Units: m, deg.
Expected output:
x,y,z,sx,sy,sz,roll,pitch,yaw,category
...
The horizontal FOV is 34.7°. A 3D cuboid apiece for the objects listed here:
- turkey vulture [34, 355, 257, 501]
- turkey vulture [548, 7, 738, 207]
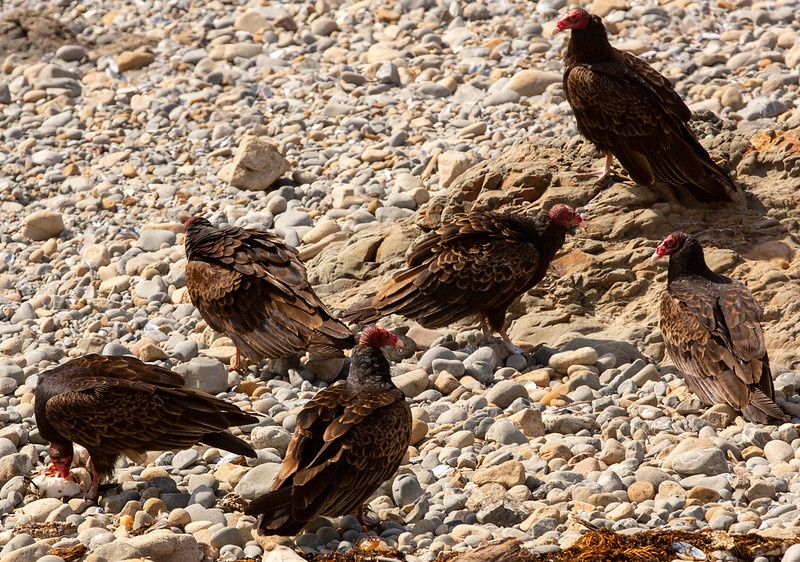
x,y,z,sx,sy,sz,roll,pitch,yaw,category
-2.279,1.207,11.865,2.587,0.978,0.915,-1,-3,3,turkey vulture
2.439,-1.785,13.638,1.064,2.429,1.285,-31,21,15,turkey vulture
